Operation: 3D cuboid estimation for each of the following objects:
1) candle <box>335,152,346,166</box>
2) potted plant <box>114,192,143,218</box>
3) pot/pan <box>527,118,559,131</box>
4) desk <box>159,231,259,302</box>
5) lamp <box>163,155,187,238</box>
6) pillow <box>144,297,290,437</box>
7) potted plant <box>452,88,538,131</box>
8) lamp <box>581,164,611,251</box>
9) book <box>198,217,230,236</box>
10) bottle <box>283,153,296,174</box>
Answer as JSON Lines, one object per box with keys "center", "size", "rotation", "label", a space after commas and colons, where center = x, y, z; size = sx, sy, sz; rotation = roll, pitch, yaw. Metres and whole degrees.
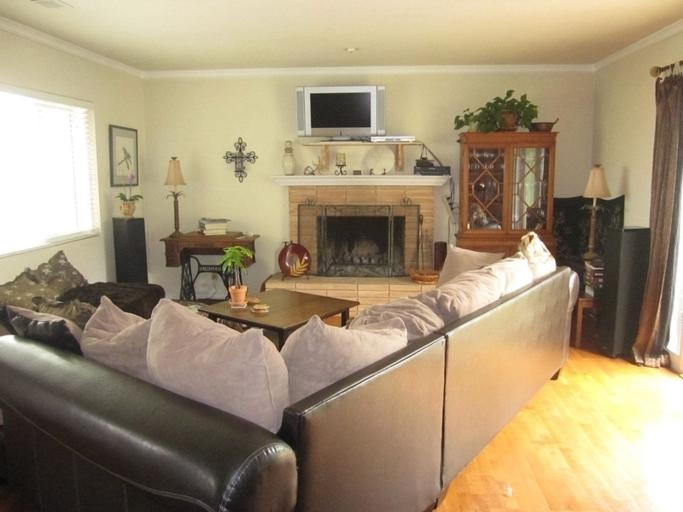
{"center": [-0.004, -1.027, 5.495], "size": [0.123, 0.142, 0.125], "rotation": [1, 2, 9], "label": "candle"}
{"center": [-2.195, -0.524, 5.311], "size": [0.278, 0.196, 0.272], "rotation": [2, 2, 33], "label": "potted plant"}
{"center": [1.941, -1.240, 4.999], "size": [0.269, 0.110, 0.219], "rotation": [6, 11, 32], "label": "pot/pan"}
{"center": [-1.332, 0.089, 5.358], "size": [0.727, 0.675, 0.307], "rotation": [-1, 10, -6], "label": "desk"}
{"center": [-1.787, -0.670, 5.606], "size": [0.215, 0.833, 0.531], "rotation": [-4, 10, -18], "label": "lamp"}
{"center": [-0.524, 0.435, 2.007], "size": [0.621, 0.428, 0.224], "rotation": [4, 10, 29], "label": "pillow"}
{"center": [1.486, -1.355, 5.026], "size": [0.692, 0.339, 0.619], "rotation": [-1, 9, 11], "label": "potted plant"}
{"center": [2.448, -0.442, 4.966], "size": [0.218, 0.872, 0.589], "rotation": [3, 10, 27], "label": "lamp"}
{"center": [-1.364, -0.312, 5.533], "size": [0.270, 0.156, 0.304], "rotation": [-4, 9, -19], "label": "book"}
{"center": [-0.557, -0.988, 5.565], "size": [0.133, 0.228, 0.098], "rotation": [-3, 9, -11], "label": "bottle"}
